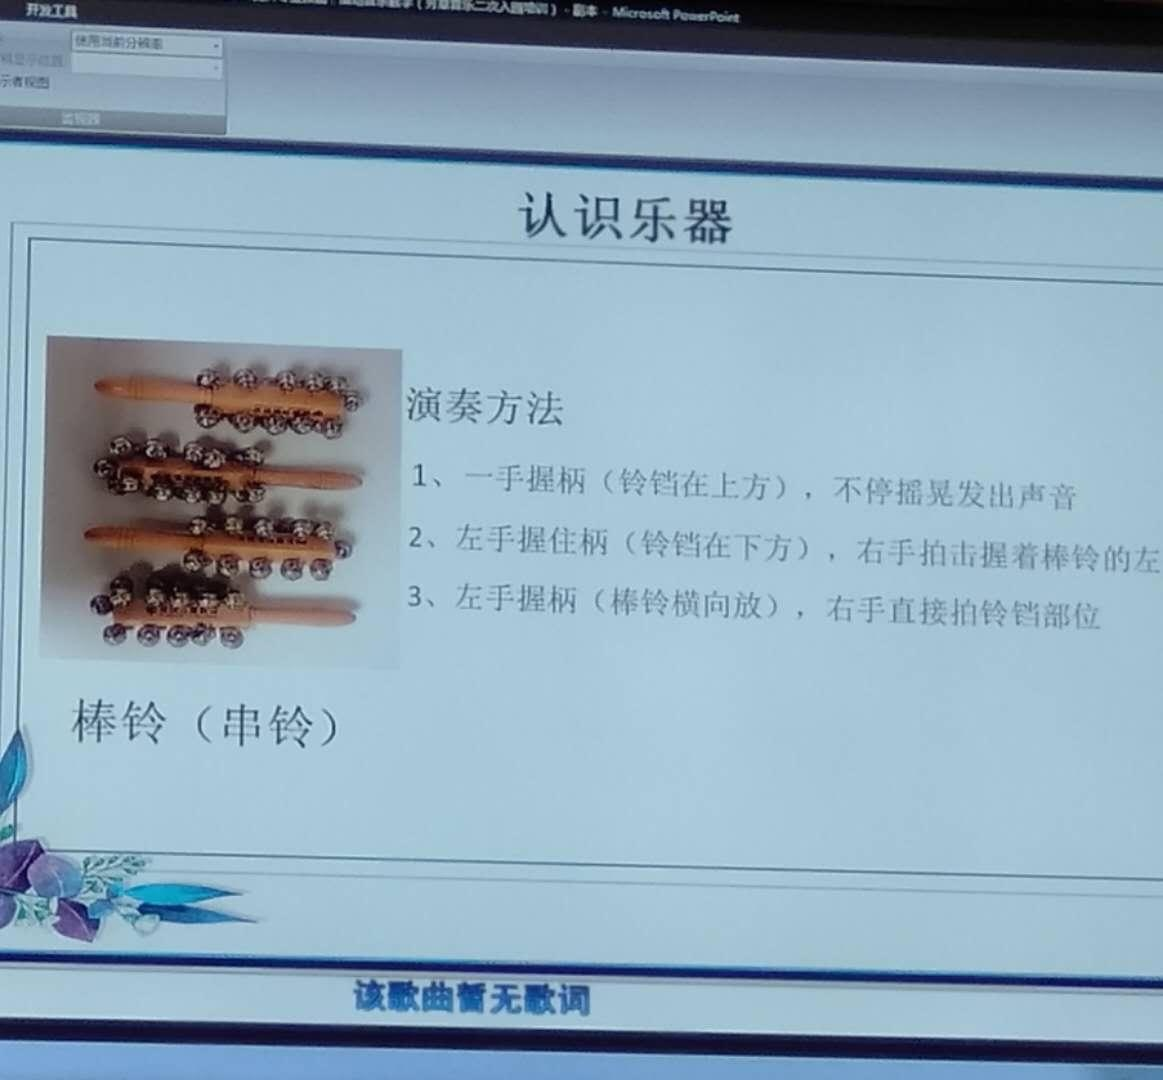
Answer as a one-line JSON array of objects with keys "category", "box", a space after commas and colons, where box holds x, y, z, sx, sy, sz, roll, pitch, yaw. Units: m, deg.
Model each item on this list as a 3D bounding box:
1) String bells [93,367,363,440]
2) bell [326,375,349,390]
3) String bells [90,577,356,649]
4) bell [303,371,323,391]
[{"category": "String bells", "box": [-0.292, -0.117, 1.647, 0.201, 0.051, 0.052, 6, 1, 3]}, {"category": "bell", "box": [-0.197, -0.126, 1.634, 0.016, 0.013, 0.014, 11, 36, 27]}, {"category": "String bells", "box": [-0.288, 0.060, 1.634, 0.213, 0.054, 0.017, 1, -7, -1]}, {"category": "bell", "box": [-0.217, -0.128, 1.635, 0.012, 0.014, 0.016, -4, 14, -42]}]
